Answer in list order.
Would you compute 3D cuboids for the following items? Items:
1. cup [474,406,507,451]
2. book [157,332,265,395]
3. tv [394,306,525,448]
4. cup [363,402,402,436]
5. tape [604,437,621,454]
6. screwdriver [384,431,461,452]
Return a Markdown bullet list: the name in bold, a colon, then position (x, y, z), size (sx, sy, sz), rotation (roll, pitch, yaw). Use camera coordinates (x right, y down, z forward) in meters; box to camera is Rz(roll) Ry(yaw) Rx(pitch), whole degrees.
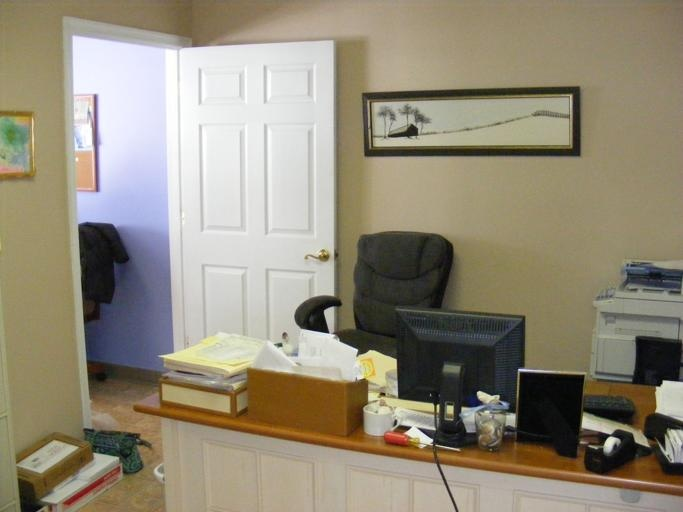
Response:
- **cup**: position (0.539, 0.632, 2.309), size (0.147, 0.174, 0.148), rotation (1, -2, 0)
- **book**: position (-0.539, 0.436, 2.565), size (0.267, 0.086, 0.274), rotation (6, 13, 28)
- **tv**: position (0.460, 0.469, 2.377), size (0.481, 0.370, 0.068), rotation (2, 1, 19)
- **cup**: position (0.153, 0.631, 2.377), size (0.122, 0.088, 0.094), rotation (2, -2, 1)
- **tape**: position (0.962, 0.673, 2.190), size (0.023, 0.039, 0.040), rotation (10, 47, 39)
- **screwdriver**: position (0.306, 0.695, 2.313), size (0.181, 0.038, 0.042), rotation (4, 34, 12)
